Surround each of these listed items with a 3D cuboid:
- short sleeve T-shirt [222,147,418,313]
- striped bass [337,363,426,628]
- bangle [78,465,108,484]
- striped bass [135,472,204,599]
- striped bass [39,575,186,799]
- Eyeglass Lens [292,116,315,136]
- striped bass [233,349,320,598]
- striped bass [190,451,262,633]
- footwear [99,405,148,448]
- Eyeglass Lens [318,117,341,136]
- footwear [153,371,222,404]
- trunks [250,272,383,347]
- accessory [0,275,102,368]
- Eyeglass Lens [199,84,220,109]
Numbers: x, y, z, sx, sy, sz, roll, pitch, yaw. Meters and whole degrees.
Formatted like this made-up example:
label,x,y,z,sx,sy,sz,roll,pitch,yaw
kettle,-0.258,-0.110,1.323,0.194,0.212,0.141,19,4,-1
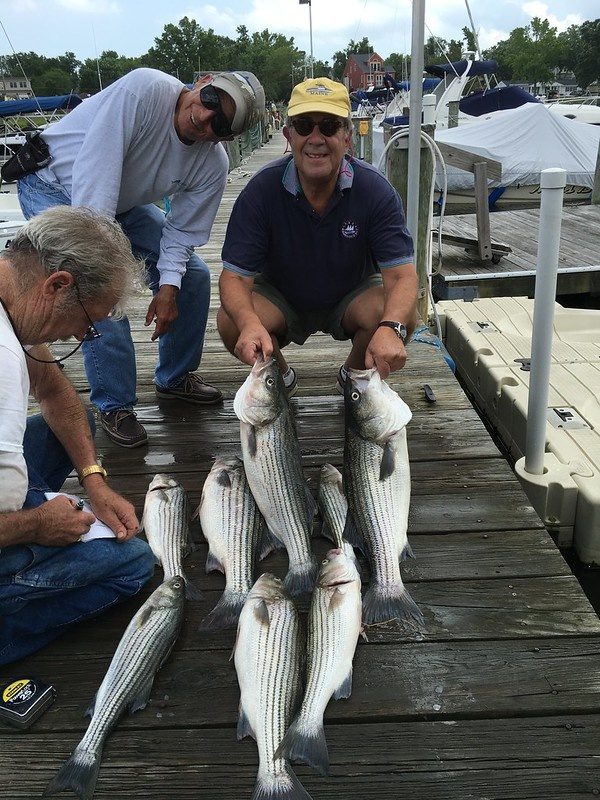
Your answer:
label,x,y,z,sx,sy,sz,roll,pitch,yaw
short sleeve T-shirt,0.081,-0.659,3.533,1.172,0.893,0.566,2,54,0
striped bass,0.253,0.308,2.489,0.327,0.176,0.832,-4,63,-4
bangle,-0.713,0.246,2.574,0.093,0.086,0.057,8,30,-27
striped bass,-0.440,0.445,2.574,0.174,0.131,0.501,-2,33,-13
striped bass,-0.441,0.726,1.961,0.174,0.118,0.593,33,35,-3
Eyeglass Lens,0.023,-1.087,2.937,0.087,0.033,0.078,0,42,-3
striped bass,-0.086,0.224,2.581,0.273,0.878,0.193,-13,-15,-2
striped bass,-0.245,0.432,2.482,0.225,0.129,0.560,-2,40,0
footwear,-0.788,0.117,3.324,0.109,0.102,0.276,-17,28,-36
Eyeglass Lens,0.120,-1.081,2.923,0.090,0.072,0.024,-5,25,-3
footwear,-0.556,-0.078,3.805,0.374,0.139,0.134,4,19,5
trunks,0.076,-0.430,3.367,0.567,0.343,0.214,4,-10,0
accessory,-0.766,-0.244,2.307,0.079,0.269,0.277,-23,8,43
Eyeglass Lens,-0.358,-1.205,2.940,0.039,0.086,0.092,-9,-7,-21
